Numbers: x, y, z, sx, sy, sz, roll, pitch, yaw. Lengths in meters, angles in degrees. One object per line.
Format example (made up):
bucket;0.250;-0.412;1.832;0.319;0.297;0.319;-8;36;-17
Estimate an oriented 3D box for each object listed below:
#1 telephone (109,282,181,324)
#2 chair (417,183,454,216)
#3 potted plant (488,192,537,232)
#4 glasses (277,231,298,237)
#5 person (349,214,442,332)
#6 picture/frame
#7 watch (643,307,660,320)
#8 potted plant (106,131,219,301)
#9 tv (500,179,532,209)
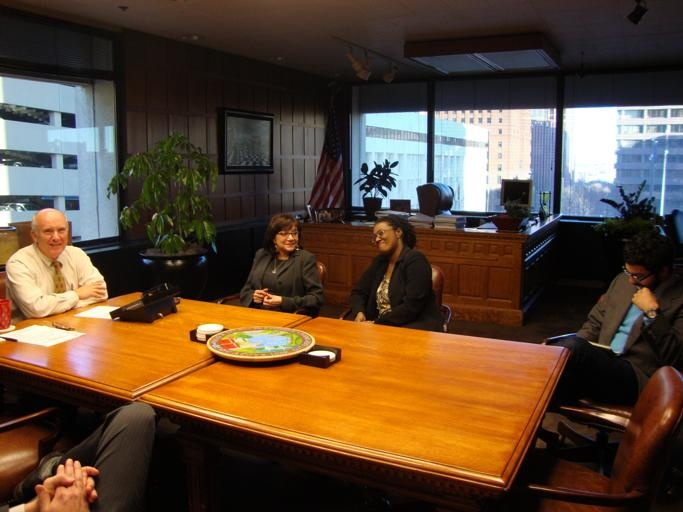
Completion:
telephone;-1.238;0.267;3.068;0.239;0.161;0.261;-4;6;19
chair;1.352;-0.765;7.110;0.352;0.528;0.562;3;9;33
potted plant;2.087;-0.490;6.117;0.498;0.446;0.620;0;-1;16
glasses;-0.410;-0.163;3.881;0.169;0.058;0.065;-6;13;-24
person;0.409;0.125;3.676;0.673;0.804;0.507;0;12;1
picture/frame;-1.374;-1.688;7.404;0.114;0.925;1.061;9;13;33
watch;1.756;0.329;2.850;0.070;0.081;0.050;20;-7;-40
potted plant;-1.965;-0.267;5.747;0.849;1.706;0.893;-18;-22;39
tv;2.382;-0.839;6.802;0.476;0.493;0.039;2;-4;31
